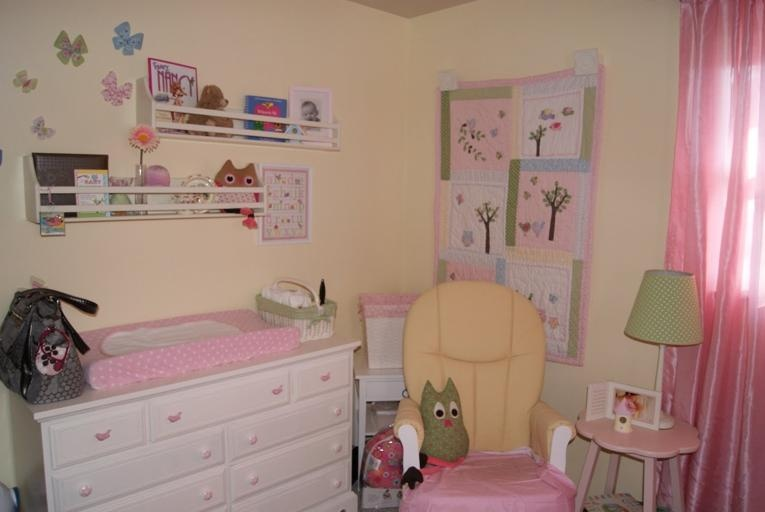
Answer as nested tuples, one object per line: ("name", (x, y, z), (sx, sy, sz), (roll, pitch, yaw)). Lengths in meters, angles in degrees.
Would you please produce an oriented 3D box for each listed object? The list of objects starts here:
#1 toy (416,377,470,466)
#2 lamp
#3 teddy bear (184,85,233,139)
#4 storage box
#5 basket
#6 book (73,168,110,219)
("toy", (0.373, 0.985, 3.310), (0.277, 0.435, 0.196), (-3, -16, -8))
("lamp", (1.671, 0.532, 3.279), (0.410, 0.898, 0.339), (6, 10, 28))
("teddy bear", (-1.042, -0.903, 3.341), (0.244, 0.328, 0.117), (3, -1, -27))
("storage box", (-0.579, 0.355, 3.570), (0.275, 0.167, 0.378), (-8, 20, -37))
("basket", (-0.585, 0.397, 3.671), (0.519, 0.226, 0.380), (8, 6, 34))
("book", (-1.587, -0.346, 3.005), (0.165, 0.259, 0.104), (-4, 10, -29))
